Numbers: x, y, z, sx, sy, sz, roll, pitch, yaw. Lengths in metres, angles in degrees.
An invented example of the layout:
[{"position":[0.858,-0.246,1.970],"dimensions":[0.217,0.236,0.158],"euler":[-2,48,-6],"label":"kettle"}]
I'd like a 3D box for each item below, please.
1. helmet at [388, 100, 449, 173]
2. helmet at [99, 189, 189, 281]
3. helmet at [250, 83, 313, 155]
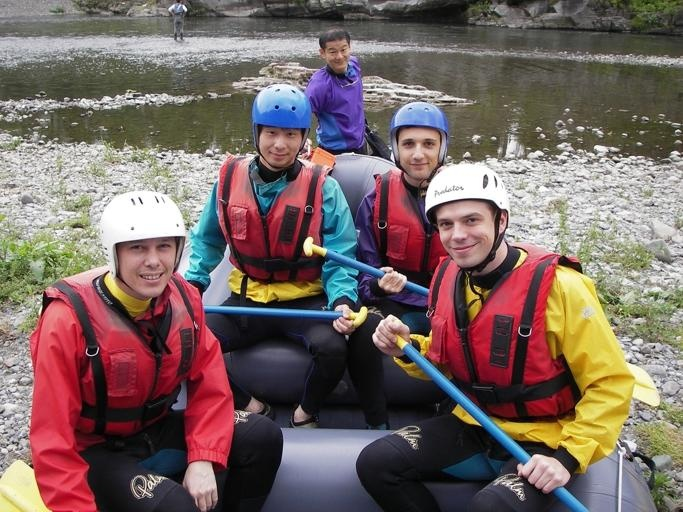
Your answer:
[{"position":[0.430,-0.659,3.659],"dimensions":[0.332,0.397,0.408],"euler":[2,0,-14],"label":"helmet"},{"position":[-0.798,-0.099,2.597],"dimensions":[0.287,0.301,0.370],"euler":[-3,12,-19],"label":"helmet"},{"position":[-0.350,-0.802,3.582],"dimensions":[0.316,0.361,0.405],"euler":[-3,29,-8],"label":"helmet"}]
